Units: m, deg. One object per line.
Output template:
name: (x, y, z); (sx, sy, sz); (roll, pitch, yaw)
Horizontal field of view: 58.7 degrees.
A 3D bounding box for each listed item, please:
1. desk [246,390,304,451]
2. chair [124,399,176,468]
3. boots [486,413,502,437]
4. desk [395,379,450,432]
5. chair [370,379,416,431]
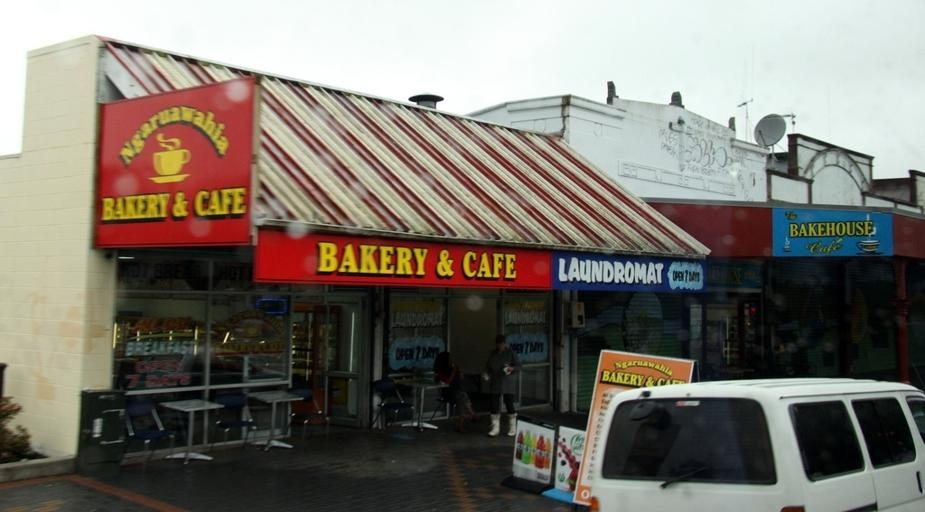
desk: (-3.923, 3.655, 18.296); (1.335, 1.247, 1.427); (-1, 3, -32)
chair: (-6.440, 3.647, 16.809); (0.893, 1.270, 1.039); (-1, 8, -22)
boots: (0.748, 4.039, 19.647); (0.257, 0.552, 0.390); (3, 8, 6)
desk: (-1.067, 3.660, 20.372); (1.297, 1.077, 1.281); (-3, -5, 37)
chair: (-1.652, 3.578, 19.542); (0.849, 0.996, 0.777); (9, 5, 34)
